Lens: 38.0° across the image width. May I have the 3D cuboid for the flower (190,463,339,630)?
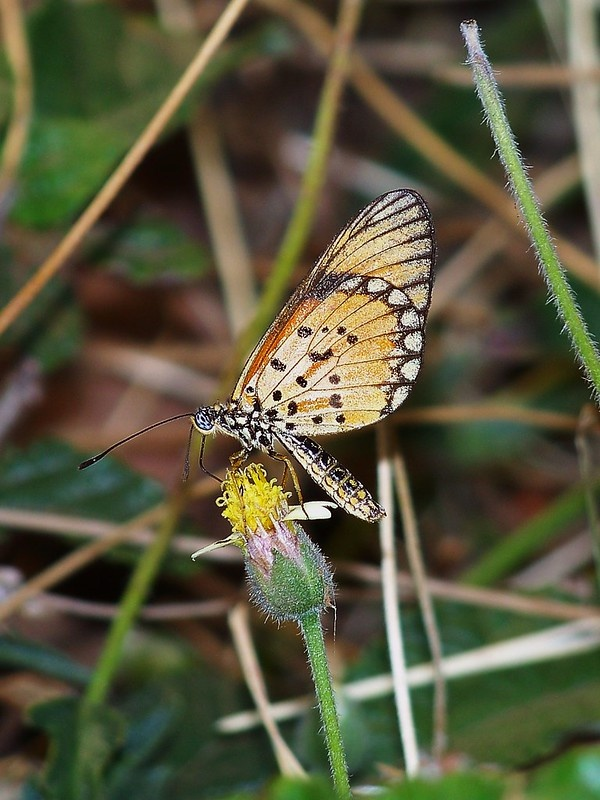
[{"bbox_3d":[-0.045,0.332,2.053,0.329,0.390,0.144,-28,-43,-3],"label":"flower"}]
